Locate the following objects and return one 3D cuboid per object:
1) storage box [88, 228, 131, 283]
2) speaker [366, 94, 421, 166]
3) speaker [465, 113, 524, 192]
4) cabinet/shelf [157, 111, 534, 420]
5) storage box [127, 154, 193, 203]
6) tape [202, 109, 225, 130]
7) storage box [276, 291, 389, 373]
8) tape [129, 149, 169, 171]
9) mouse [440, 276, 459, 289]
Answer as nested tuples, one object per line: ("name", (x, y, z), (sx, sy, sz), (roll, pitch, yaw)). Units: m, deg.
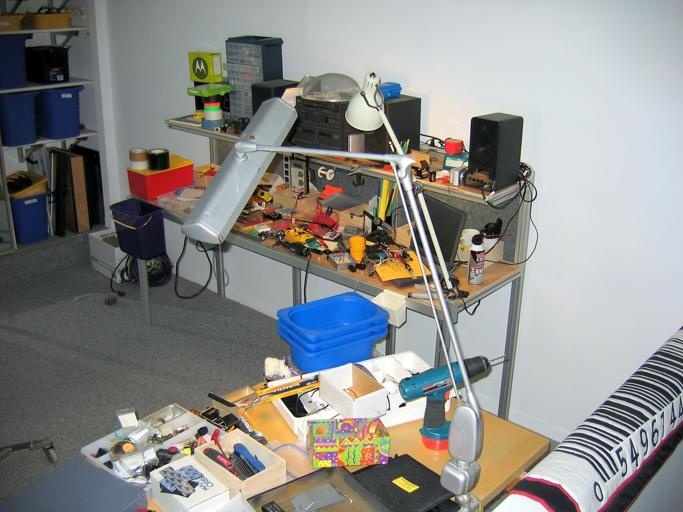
("storage box", (-2.006, 0.000, 5.043), (0.375, 0.259, 0.209), (25, 36, 36))
("speaker", (0.315, -0.727, 3.350), (0.175, 0.362, 0.286), (23, 27, 34))
("speaker", (0.800, -0.535, 3.013), (0.282, 0.404, 0.217), (-23, 38, -28))
("cabinet/shelf", (0.083, 0.039, 3.155), (2.695, 1.197, 1.166), (18, 27, 36))
("storage box", (-1.361, -0.629, 4.368), (0.364, 0.361, 0.323), (24, 32, 36))
("tape", (-0.866, -0.929, 4.001), (0.144, 0.135, 0.145), (15, 30, 24))
("storage box", (-0.040, 0.333, 2.695), (0.463, 0.224, 0.341), (-13, 29, -29))
("tape", (-1.381, -0.706, 4.196), (0.149, 0.128, 0.250), (10, 16, 32))
("mouse", (0.568, 0.135, 3.000), (0.075, 0.032, 0.062), (-14, 26, -34))
